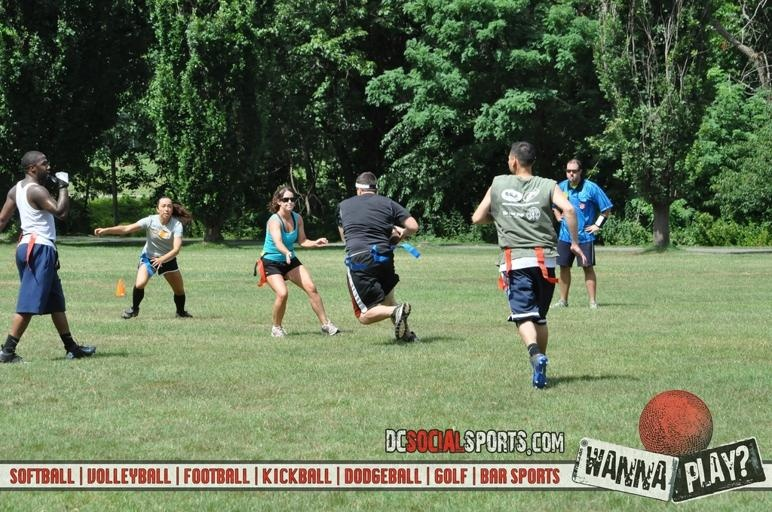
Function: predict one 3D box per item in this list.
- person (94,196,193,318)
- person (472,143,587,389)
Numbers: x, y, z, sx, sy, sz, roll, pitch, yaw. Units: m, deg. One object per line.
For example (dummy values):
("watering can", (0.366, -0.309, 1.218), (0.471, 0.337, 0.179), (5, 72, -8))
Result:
("person", (-4.376, 0.056, 19.138), (1.175, 2.350, 0.688), (-2, 4, -11))
("person", (1.976, -0.070, 14.014), (1.382, 3.046, 0.681), (-1, 4, 5))
